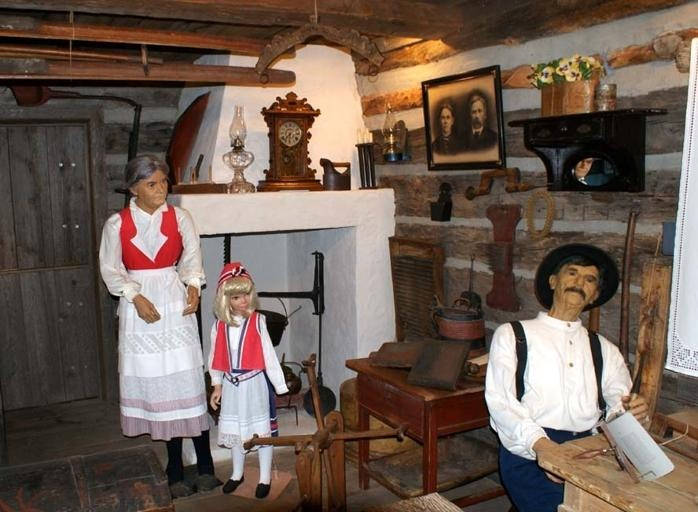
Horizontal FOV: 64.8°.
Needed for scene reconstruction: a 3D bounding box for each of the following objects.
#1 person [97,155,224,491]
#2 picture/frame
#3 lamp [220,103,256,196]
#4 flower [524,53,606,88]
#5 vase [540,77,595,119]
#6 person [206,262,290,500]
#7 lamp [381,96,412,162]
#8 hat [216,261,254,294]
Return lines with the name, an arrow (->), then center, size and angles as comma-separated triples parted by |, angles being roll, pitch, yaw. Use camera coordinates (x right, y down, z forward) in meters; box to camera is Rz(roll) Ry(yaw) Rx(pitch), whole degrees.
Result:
person -> -1.288, 0.498, 3.737 | 0.655, 2.335, 0.321 | -5, 7, -14
picture/frame -> 0.812, -0.960, 3.964 | 0.903, 0.700, 0.062 | -19, 20, -38
lamp -> -0.891, -0.848, 4.414 | 0.234, 0.693, 0.259 | -4, 7, -9
flower -> 1.197, -1.027, 3.057 | 0.283, 0.098, 0.257 | -12, 8, -22
vase -> 1.257, -0.892, 3.159 | 0.244, 0.185, 0.322 | -6, 9, -27
person -> -0.670, 0.843, 3.668 | 0.529, 1.591, 0.301 | -3, 7, 1
lamp -> 0.390, -0.982, 4.549 | 0.206, 0.396, 0.094 | -3, 7, 5
hat -> -0.799, 0.152, 3.654 | 0.233, 0.128, 0.204 | -11, -7, 37
